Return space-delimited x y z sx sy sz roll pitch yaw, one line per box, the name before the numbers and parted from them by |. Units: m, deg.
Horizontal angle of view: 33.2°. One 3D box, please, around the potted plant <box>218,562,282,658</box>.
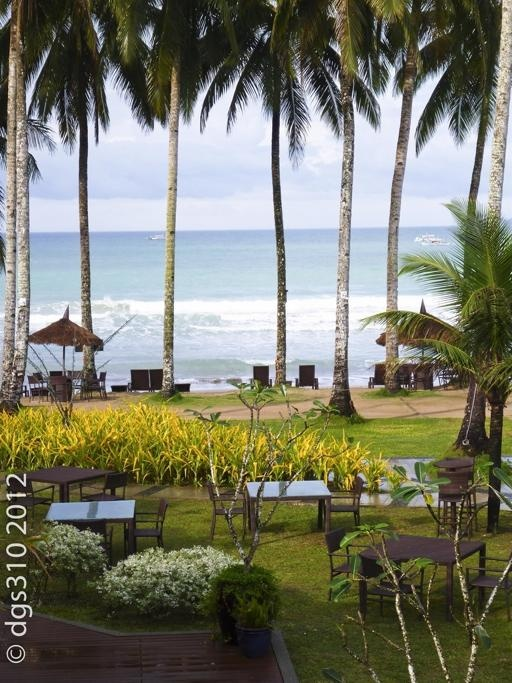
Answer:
potted plant | -0.022 2.291 7.303 0.587 0.743 0.649 -2 -1 -17
